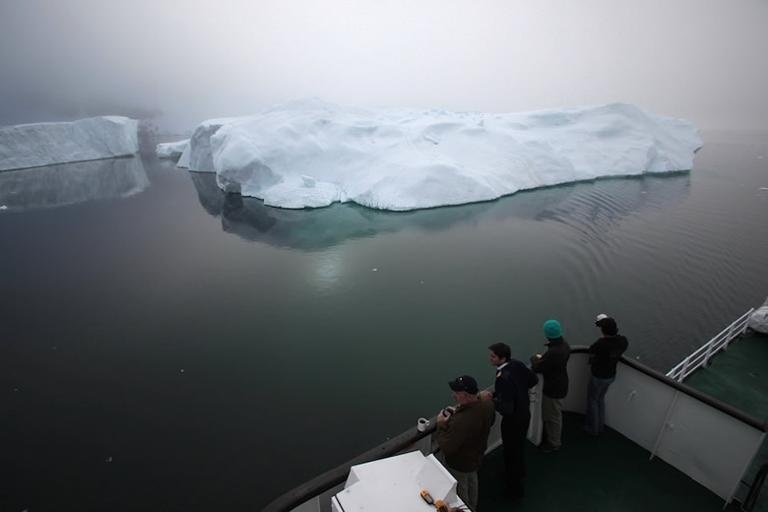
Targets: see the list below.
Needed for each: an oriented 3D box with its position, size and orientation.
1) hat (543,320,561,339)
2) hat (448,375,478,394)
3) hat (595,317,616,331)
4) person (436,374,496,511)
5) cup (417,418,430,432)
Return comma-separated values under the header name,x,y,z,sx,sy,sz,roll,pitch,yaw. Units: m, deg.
name,x,y,z,sx,sy,sz,roll,pitch,yaw
hat,2.933,1.240,8.800,0.289,0.316,0.388,0,30,16
hat,1.300,2.059,8.059,0.386,0.194,0.278,7,8,7
hat,3.969,1.206,8.967,0.224,0.233,0.299,-1,30,-1
person,1.269,3.020,8.152,0.836,2.079,0.957,10,34,22
cup,0.663,2.834,8.453,0.158,0.176,0.258,-1,-1,20
